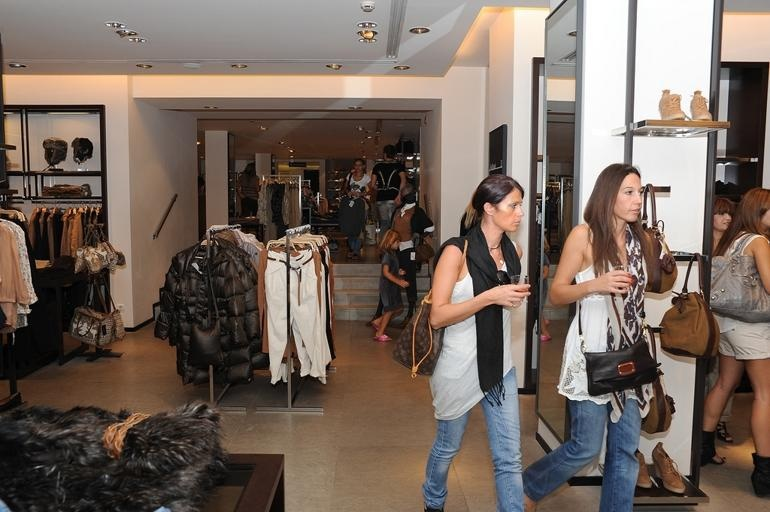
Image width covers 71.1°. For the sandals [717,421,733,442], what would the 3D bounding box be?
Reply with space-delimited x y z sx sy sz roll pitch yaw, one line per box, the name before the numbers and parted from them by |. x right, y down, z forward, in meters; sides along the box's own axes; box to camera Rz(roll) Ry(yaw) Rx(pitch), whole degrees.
sandals | 3.113 1.625 4.922 0.082 0.103 0.264 -3 -7 9

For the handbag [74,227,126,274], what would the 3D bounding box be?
handbag | -3.807 -0.105 7.230 0.553 0.618 0.980 -3 10 -23

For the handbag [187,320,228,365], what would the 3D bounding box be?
handbag | -1.702 0.822 5.107 0.452 0.508 0.220 0 -4 -5

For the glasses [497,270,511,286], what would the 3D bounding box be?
glasses | 0.723 0.136 3.367 0.065 0.099 0.101 -9 -1 -5

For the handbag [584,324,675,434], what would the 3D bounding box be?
handbag | 1.541 0.810 3.378 0.661 0.703 0.248 -4 11 -27

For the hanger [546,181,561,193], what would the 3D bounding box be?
hanger | 1.390 -0.560 4.424 0.128 0.082 0.031 5 0 42

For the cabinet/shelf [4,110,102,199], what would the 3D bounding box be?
cabinet/shelf | -4.883 -1.492 7.862 1.483 1.291 0.486 0 2 -7

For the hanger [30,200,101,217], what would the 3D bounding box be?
hanger | -4.768 -0.715 7.951 1.168 0.214 0.398 0 9 -1

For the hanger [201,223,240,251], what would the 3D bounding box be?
hanger | -1.654 -0.190 5.457 0.262 0.112 0.356 1 7 4

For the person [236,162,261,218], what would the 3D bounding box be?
person | -3.883 -1.841 15.388 0.570 1.342 1.830 -2 10 -13

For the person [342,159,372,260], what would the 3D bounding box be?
person | -0.619 -0.976 11.384 0.624 2.065 1.185 0 9 -5

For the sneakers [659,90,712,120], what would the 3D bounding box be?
sneakers | 2.043 -1.016 3.684 0.278 0.143 0.269 -1 27 1
